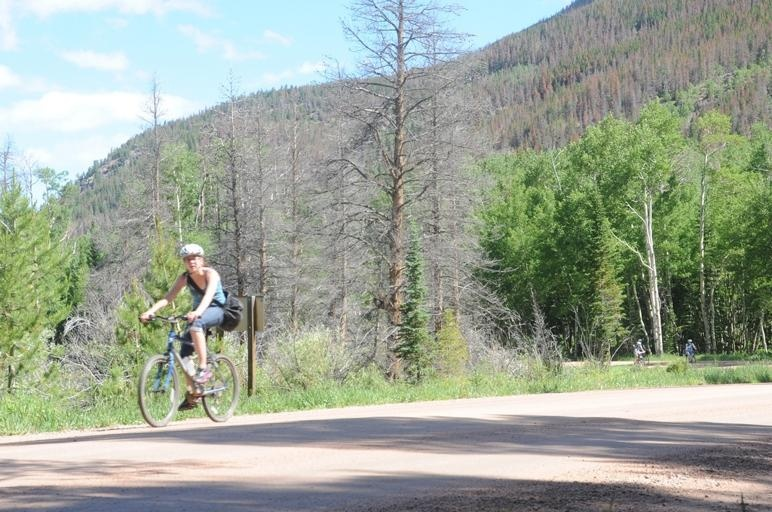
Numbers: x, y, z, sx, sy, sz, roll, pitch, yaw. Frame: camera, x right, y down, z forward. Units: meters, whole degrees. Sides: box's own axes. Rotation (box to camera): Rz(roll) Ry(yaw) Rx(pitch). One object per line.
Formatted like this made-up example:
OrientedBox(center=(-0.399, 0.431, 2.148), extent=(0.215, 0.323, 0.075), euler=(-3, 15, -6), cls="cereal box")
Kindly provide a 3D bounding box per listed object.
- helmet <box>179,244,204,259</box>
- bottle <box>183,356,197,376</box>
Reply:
OrientedBox(center=(-5.721, -0.153, 27.108), extent=(0.598, 0.477, 0.456), euler=(0, -11, -10), cls="helmet")
OrientedBox(center=(-5.792, 3.289, 27.182), extent=(0.183, 0.547, 0.360), euler=(-15, 13, -23), cls="bottle")
